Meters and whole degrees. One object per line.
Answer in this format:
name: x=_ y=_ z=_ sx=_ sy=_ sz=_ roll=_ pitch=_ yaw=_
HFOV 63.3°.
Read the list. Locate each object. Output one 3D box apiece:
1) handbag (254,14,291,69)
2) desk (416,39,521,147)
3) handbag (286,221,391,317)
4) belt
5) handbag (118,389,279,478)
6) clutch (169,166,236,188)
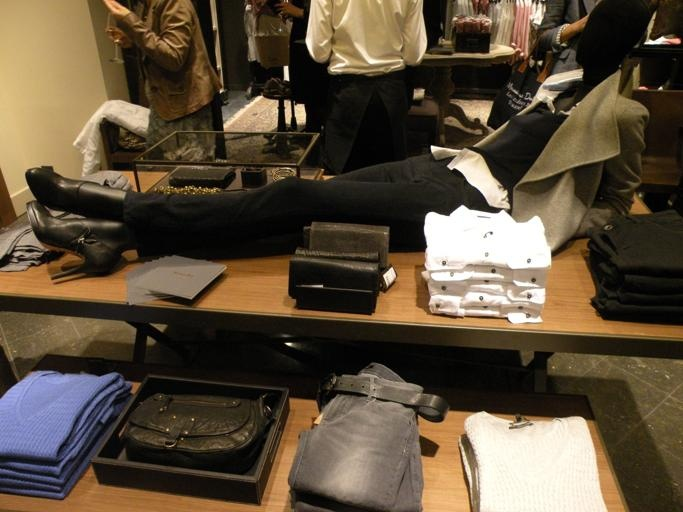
handbag: x=-0.572 y=-1.786 z=4.570 sx=0.325 sy=0.447 sz=0.311 roll=4 pitch=57 yaw=-3
desk: x=1.184 y=-1.567 z=5.125 sx=0.923 sy=0.640 sz=0.970 roll=-2 pitch=47 yaw=0
handbag: x=0.011 y=0.036 z=2.473 sx=0.460 sy=0.230 sz=0.392 roll=4 pitch=34 yaw=8
belt: x=0.186 y=0.539 z=2.237 sx=0.329 sy=0.105 sz=0.246 roll=12 pitch=-4 yaw=12
handbag: x=-0.550 y=0.674 z=2.159 sx=0.397 sy=0.136 sz=0.333 roll=4 pitch=31 yaw=7
clutch: x=-0.746 y=-0.424 z=2.919 sx=0.182 sy=0.046 sz=0.192 roll=5 pitch=23 yaw=8
